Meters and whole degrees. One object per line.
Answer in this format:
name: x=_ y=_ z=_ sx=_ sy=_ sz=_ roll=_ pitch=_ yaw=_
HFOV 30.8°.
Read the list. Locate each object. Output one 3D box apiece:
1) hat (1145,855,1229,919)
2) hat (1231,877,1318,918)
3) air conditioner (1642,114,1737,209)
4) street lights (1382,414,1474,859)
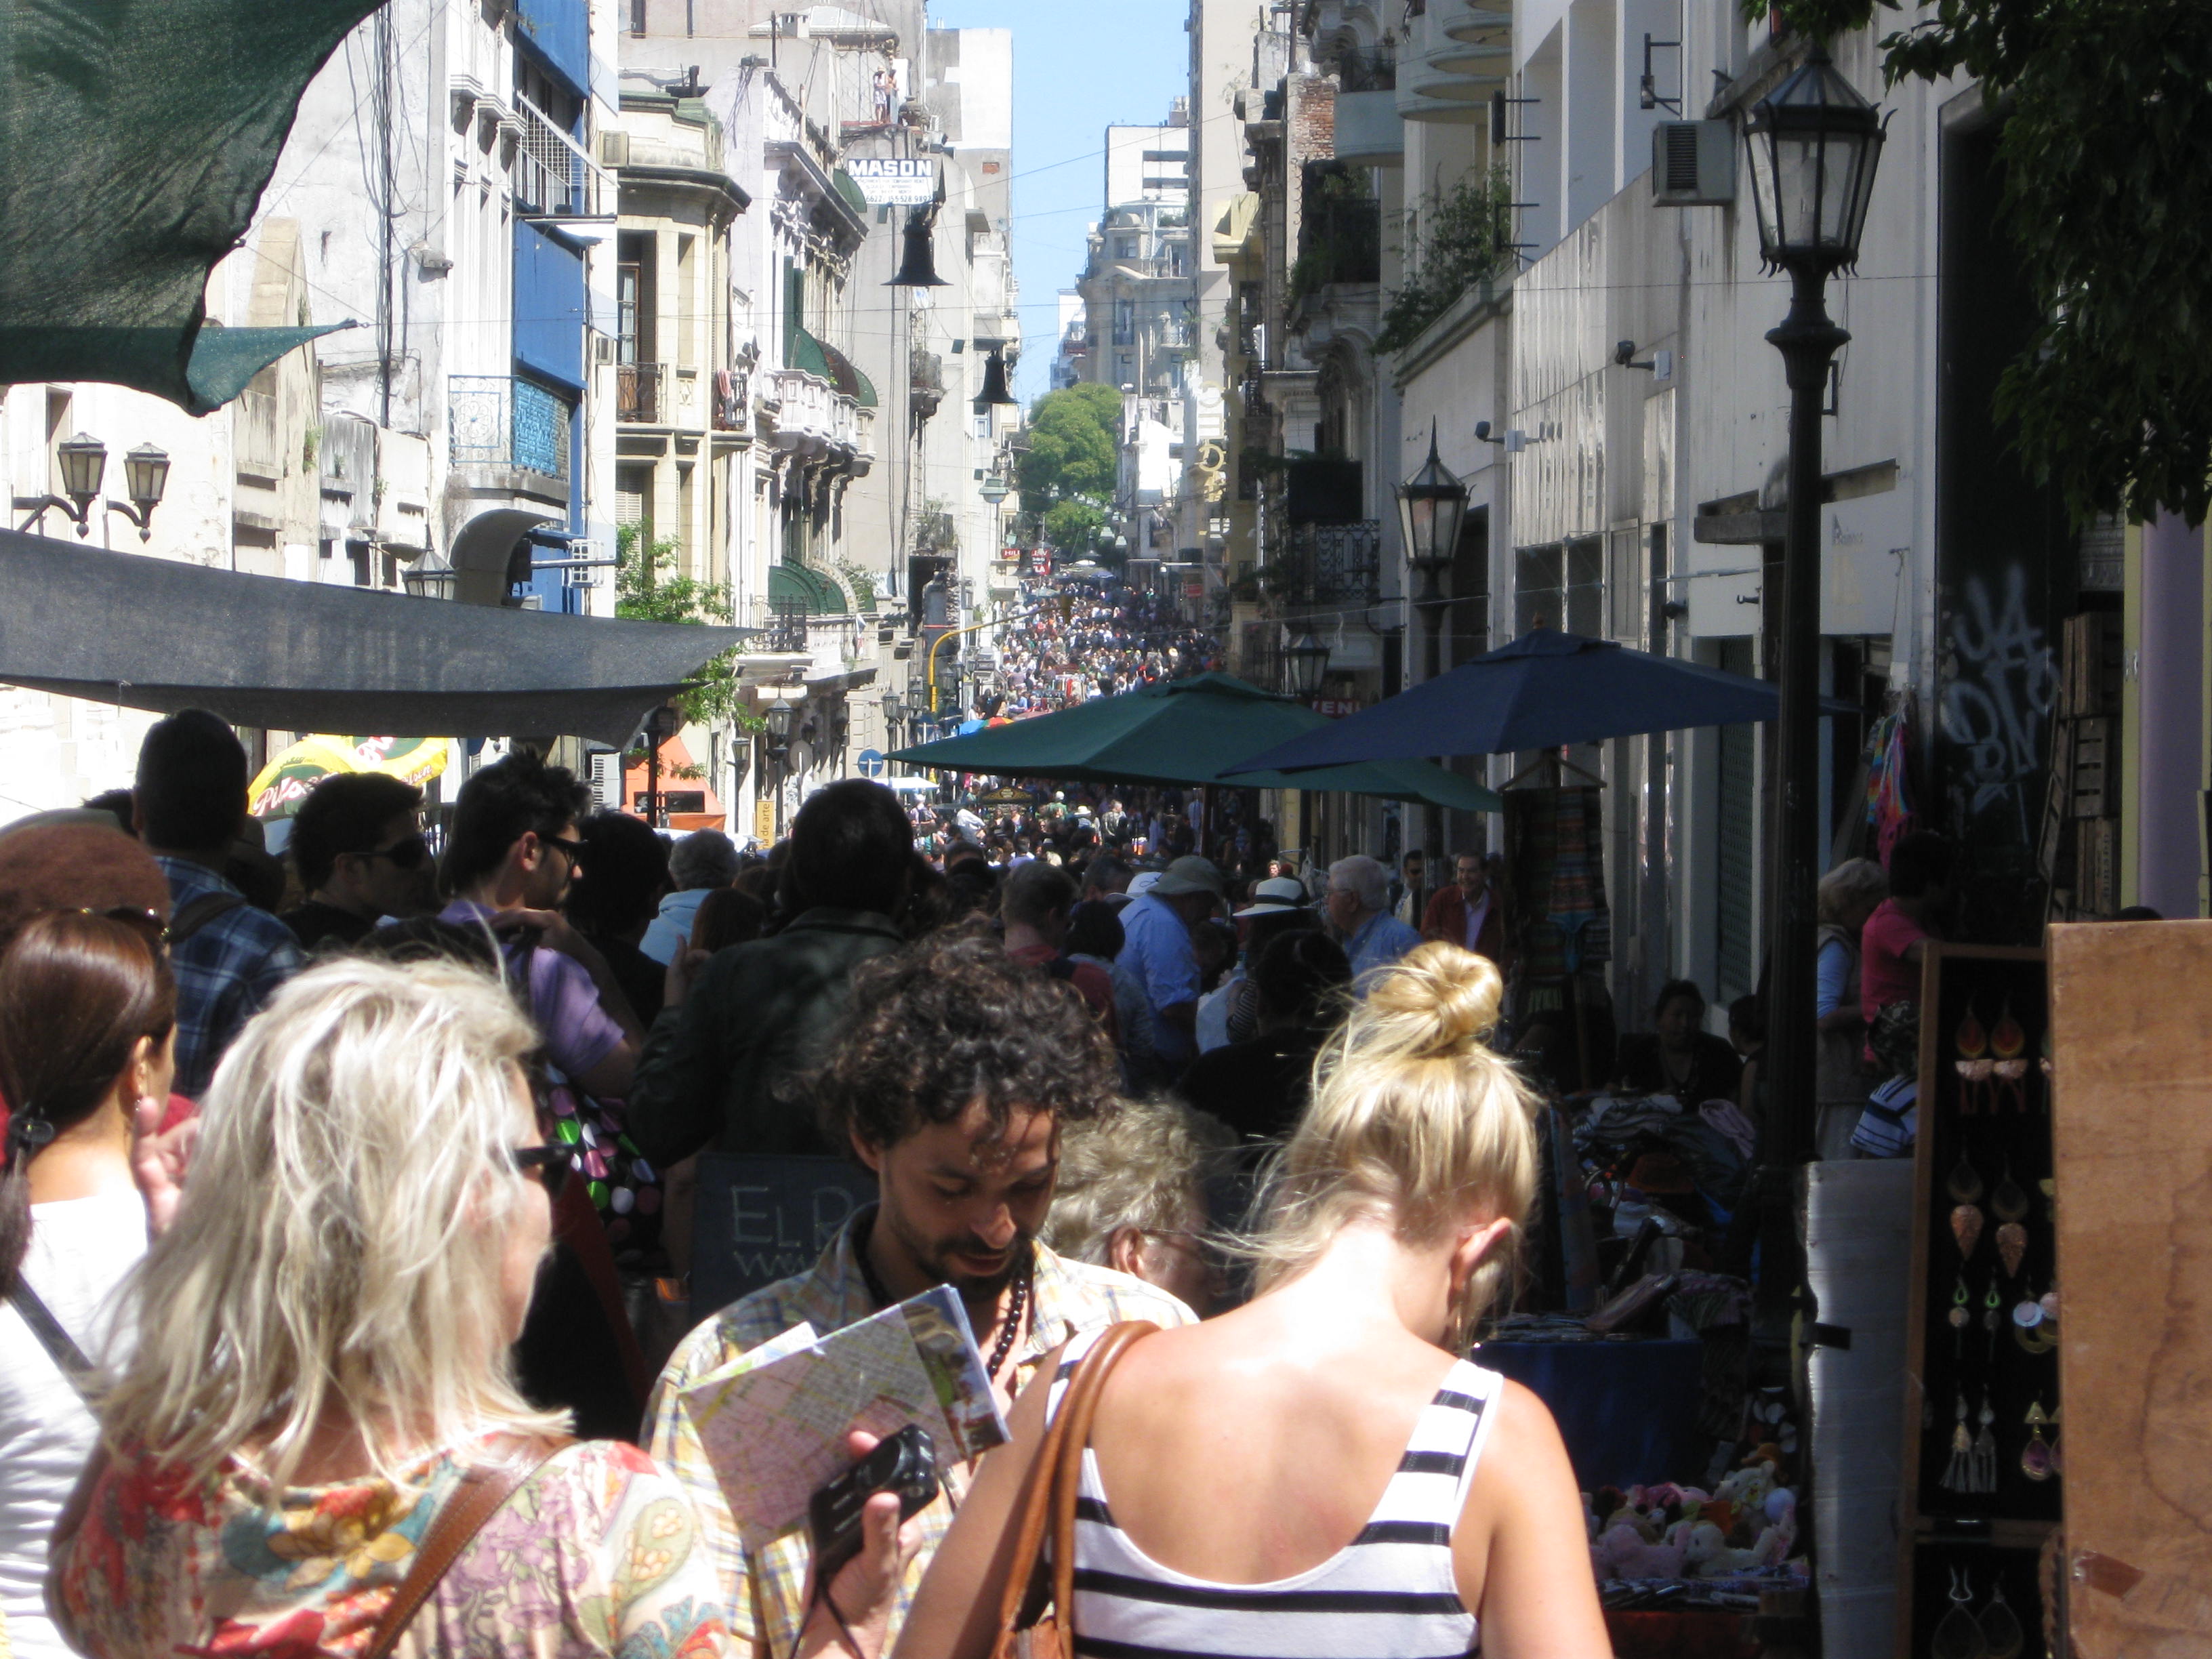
hat: x=0.376 y=0.252 z=18.015 sx=0.204 sy=0.163 sz=0.283 roll=2 pitch=-14 yaw=21
hat: x=0.805 y=0.345 z=18.743 sx=0.301 sy=0.127 sz=0.211 roll=10 pitch=-10 yaw=-43
air conditioner: x=2.886 y=-3.247 z=19.777 sx=0.407 sy=0.492 sz=0.454 roll=-1 pitch=1 yaw=-5
street lights: x=1.766 y=-0.871 z=21.957 sx=0.463 sy=2.543 sz=0.548 roll=6 pitch=9 yaw=34
